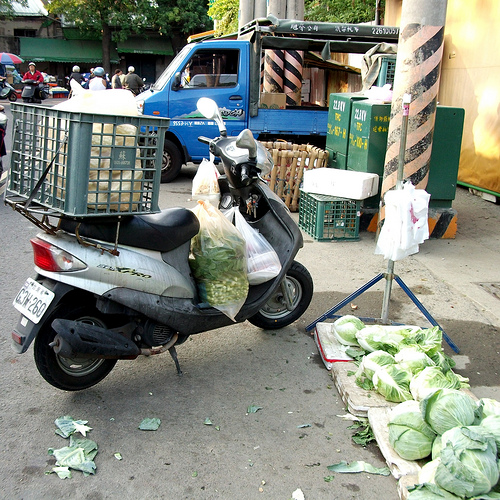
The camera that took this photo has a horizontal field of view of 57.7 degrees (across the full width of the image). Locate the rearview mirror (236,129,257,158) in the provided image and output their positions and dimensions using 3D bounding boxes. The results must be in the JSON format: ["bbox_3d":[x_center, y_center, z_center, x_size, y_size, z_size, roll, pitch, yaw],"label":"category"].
[{"bbox_3d":[-0.023,-0.703,2.957,0.120,0.183,0.274,3,13,6],"label":"rearview mirror"}]

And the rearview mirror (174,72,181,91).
[{"bbox_3d":[-1.407,-3.292,8.781,0.126,0.331,0.101,0,15,-6],"label":"rearview mirror"}]

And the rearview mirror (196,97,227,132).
[{"bbox_3d":[-0.275,-0.991,3.270,0.185,0.245,0.369,1,13,-3],"label":"rearview mirror"}]

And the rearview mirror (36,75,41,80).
[{"bbox_3d":[-10.679,-8.801,22.853,0.218,0.188,0.126,-4,15,-20],"label":"rearview mirror"}]

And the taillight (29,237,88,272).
[{"bbox_3d":[-1.062,0.025,2.457,0.417,0.152,0.128,11,17,38],"label":"taillight"}]

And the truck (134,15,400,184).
[{"bbox_3d":[-0.186,-3.454,10.414,6.133,3.107,2.984,-8,22,-27],"label":"truck"}]
